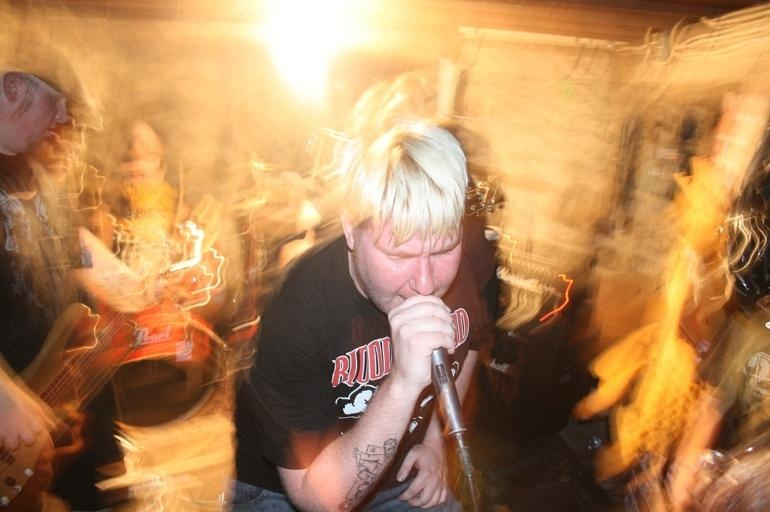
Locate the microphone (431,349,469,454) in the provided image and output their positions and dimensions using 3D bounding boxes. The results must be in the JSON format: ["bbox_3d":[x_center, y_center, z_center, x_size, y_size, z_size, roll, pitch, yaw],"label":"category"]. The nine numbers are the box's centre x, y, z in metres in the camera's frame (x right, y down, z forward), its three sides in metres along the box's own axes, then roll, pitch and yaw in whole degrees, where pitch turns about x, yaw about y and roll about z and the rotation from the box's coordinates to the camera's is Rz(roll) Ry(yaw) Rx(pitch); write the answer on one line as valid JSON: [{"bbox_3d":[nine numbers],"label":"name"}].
[{"bbox_3d":[0.362,0.834,3.559,0.118,0.120,0.745,-8,53,-6],"label":"microphone"}]
